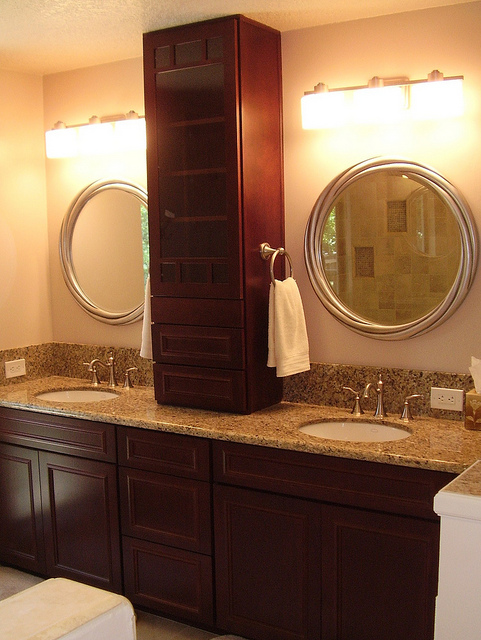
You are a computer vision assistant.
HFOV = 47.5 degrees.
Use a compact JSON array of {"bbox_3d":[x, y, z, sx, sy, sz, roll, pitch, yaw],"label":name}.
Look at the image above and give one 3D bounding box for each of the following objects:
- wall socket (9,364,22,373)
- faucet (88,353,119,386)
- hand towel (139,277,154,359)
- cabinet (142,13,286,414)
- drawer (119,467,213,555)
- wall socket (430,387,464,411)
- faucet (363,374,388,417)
[{"bbox_3d":[-1.234,0.266,2.999,0.015,0.047,0.069,3,4,38],"label":"wall socket"},{"bbox_3d":[-0.734,0.264,2.959,0.107,0.155,0.248,-7,7,-42],"label":"faucet"},{"bbox_3d":[-0.447,-0.002,2.592,0.049,0.361,0.072,9,8,30],"label":"hand towel"},{"bbox_3d":[-0.110,-0.389,2.389,0.493,1.682,0.426,5,9,36],"label":"cabinet"},{"bbox_3d":[-0.277,0.749,2.169,0.335,0.307,0.236,5,7,31],"label":"drawer"},{"bbox_3d":[0.793,0.299,2.079,0.082,0.064,0.012,4,5,40],"label":"wall socket"},{"bbox_3d":[0.539,0.296,2.169,0.097,0.177,0.074,0,17,16],"label":"faucet"}]
